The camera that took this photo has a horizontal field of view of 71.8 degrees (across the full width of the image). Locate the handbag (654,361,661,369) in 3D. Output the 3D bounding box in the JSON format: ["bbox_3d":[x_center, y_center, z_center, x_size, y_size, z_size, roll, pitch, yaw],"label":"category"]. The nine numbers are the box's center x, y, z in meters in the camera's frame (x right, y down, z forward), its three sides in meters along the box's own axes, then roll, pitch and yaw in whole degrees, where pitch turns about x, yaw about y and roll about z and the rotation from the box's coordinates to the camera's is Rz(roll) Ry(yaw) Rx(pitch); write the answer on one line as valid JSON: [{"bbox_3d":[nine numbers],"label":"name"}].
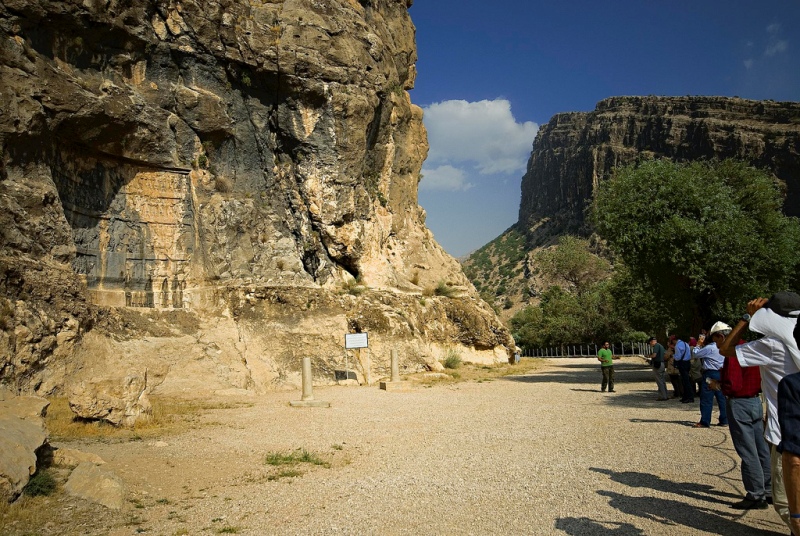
[{"bbox_3d":[9.993,3.771,21.509,0.268,0.277,0.293,-1,-3,24],"label":"handbag"}]

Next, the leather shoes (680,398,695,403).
[{"bbox_3d":[10.694,4.955,20.603,0.458,0.195,0.155,8,-17,-16],"label":"leather shoes"}]

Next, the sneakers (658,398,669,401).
[{"bbox_3d":[10.119,5.035,21.274,0.390,0.167,0.158,2,-11,16],"label":"sneakers"}]
